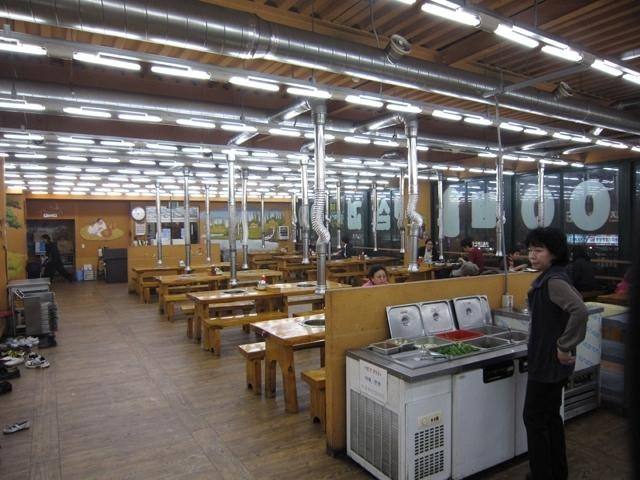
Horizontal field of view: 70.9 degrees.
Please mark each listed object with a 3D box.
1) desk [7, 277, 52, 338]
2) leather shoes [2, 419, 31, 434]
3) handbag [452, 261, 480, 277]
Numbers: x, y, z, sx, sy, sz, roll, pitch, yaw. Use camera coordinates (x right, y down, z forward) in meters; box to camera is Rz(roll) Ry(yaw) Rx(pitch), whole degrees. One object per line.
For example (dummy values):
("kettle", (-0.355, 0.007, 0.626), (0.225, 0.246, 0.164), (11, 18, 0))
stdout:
("desk", (-5.572, 1.320, 8.623), (0.593, 0.697, 1.024), (-3, 3, -31))
("leather shoes", (-3.473, 2.126, 5.148), (0.183, 0.065, 0.108), (2, -4, -27))
("handbag", (3.063, 0.625, 9.522), (0.523, 0.329, 0.674), (-4, -5, 6))
